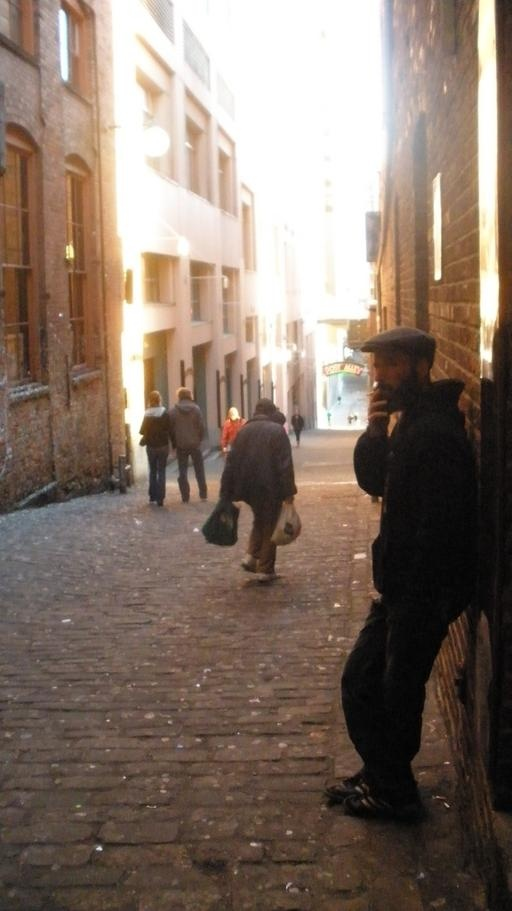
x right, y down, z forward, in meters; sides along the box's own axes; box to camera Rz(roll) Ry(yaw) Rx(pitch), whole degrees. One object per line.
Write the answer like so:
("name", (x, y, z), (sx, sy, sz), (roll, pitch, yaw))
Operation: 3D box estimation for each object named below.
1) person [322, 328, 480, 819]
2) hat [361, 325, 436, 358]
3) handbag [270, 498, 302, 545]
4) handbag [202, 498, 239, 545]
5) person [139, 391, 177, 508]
("person", (0.480, 0.379, 2.269), (0.305, 1.121, 0.608), (-3, 1, -29))
("hat", (0.461, -0.361, 2.357), (0.142, 0.078, 0.130), (13, 2, -5))
("handbag", (0.257, 0.620, 6.525), (0.251, 0.318, 0.262), (-3, 1, 1))
("handbag", (-0.343, 0.659, 7.059), (0.307, 0.542, 0.288), (21, -13, 1))
("person", (-1.705, -0.122, 12.469), (0.531, 1.807, 0.612), (-2, 1, -9))
